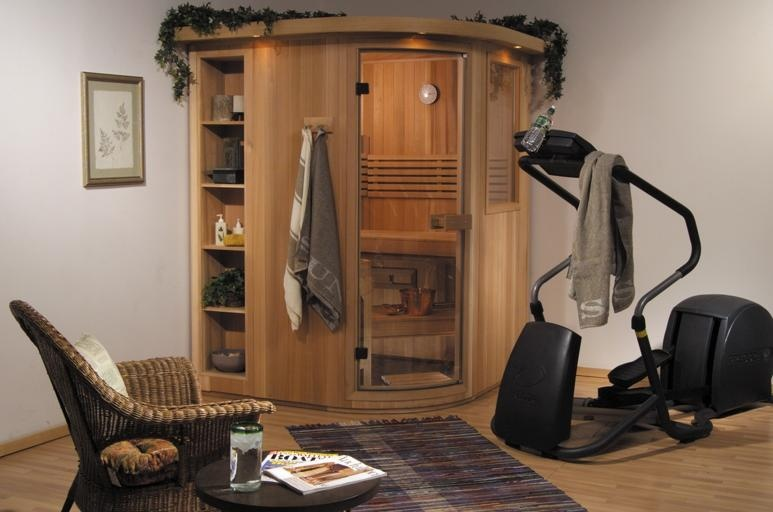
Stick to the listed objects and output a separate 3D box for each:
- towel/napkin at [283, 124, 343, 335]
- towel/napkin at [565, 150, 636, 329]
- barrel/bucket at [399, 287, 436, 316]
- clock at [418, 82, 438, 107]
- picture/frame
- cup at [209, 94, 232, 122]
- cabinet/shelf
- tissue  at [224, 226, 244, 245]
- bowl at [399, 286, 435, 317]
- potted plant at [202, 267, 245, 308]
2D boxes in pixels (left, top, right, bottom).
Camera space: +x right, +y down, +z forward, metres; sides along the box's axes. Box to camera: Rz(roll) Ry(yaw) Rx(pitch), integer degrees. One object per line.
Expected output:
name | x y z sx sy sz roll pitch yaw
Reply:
towel/napkin | -0.520 -0.200 4.652 0.435 1.477 0.312 1 12 8
towel/napkin | 1.315 -0.114 3.813 0.391 1.030 0.372 4 13 17
barrel/bucket | 0.235 0.334 4.714 0.227 0.141 0.218 -1 -3 0
clock | 0.317 -1.191 4.625 0.151 0.156 0.033 -7 14 -30
picture/frame | -1.946 -0.906 4.542 0.115 0.784 0.556 6 13 28
cup | -1.284 -1.158 4.996 0.217 0.230 0.208 0 5 0
cabinet/shelf | -0.258 -0.426 5.652 3.142 2.867 2.313 5 10 12
tissue  | -1.172 -0.169 5.012 0.153 0.074 0.149 -19 20 -38
bowl | 0.231 0.336 4.713 0.227 0.146 0.219 -2 -3 0
potted plant | -1.313 0.218 5.111 0.320 0.298 0.339 -1 4 -19
